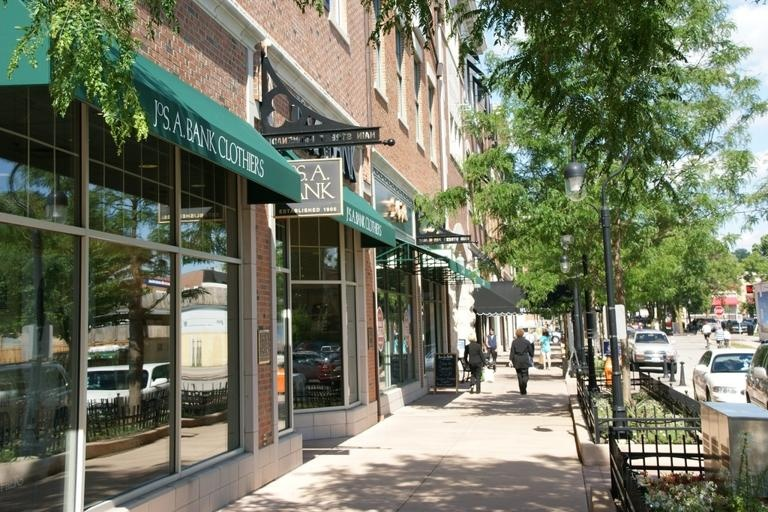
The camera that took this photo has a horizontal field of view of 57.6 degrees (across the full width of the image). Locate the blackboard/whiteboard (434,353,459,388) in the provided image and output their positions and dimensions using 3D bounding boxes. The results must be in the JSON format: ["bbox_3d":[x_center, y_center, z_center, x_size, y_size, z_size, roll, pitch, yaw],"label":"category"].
[{"bbox_3d":[1.990,3.667,22.594,0.889,1.457,0.978,-1,-9,8],"label":"blackboard/whiteboard"}]

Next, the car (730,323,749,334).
[{"bbox_3d":[46.522,9.231,91.386,1.699,1.631,3.151,-1,-13,7],"label":"car"}]

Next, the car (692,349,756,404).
[{"bbox_3d":[8.359,2.937,17.102,1.193,0.922,2.643,-3,-14,10],"label":"car"}]
